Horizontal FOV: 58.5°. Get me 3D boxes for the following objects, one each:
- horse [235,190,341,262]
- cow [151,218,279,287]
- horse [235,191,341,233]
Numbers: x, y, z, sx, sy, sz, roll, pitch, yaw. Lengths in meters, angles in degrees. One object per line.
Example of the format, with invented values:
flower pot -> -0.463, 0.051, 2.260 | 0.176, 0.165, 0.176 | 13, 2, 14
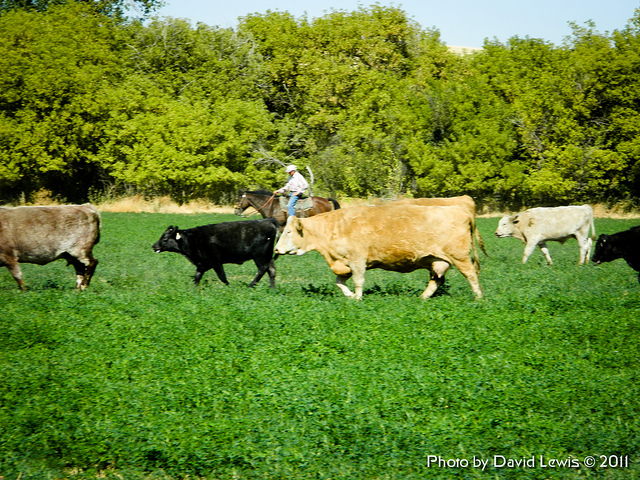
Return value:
horse -> -1.452, -0.901, 21.898 | 1.214, 2.114, 5.207 | 13, 14, 41
cow -> -2.523, 0.346, 14.717 | 3.858, 1.207, 0.866 | 0, -11, 19
horse -> -1.411, -0.927, 21.325 | 4.725, 1.674, 1.086 | -4, 21, -38
